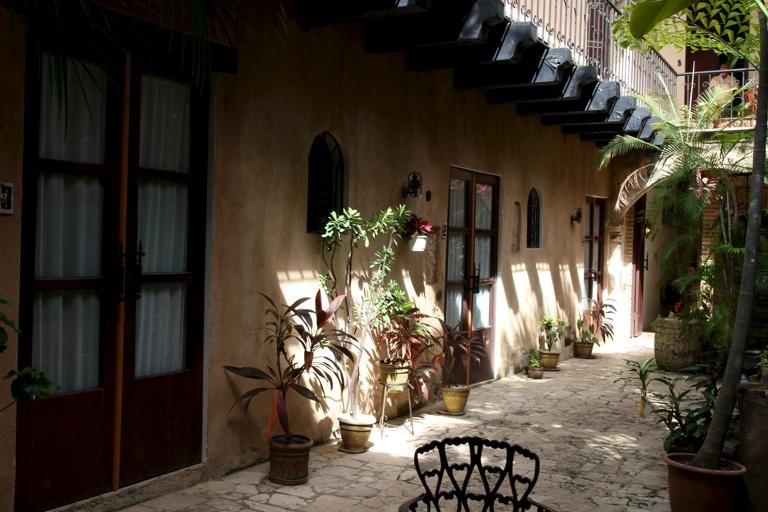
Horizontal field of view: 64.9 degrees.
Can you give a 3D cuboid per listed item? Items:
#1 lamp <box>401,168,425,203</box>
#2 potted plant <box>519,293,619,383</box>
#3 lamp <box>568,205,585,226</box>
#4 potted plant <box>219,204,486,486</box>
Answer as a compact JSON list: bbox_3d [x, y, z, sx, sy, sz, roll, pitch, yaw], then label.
[{"bbox_3d":[0.384,-0.886,7.553,0.184,0.258,0.443,-3,-2,32],"label":"lamp"},{"bbox_3d":[3.487,1.489,11.649,1.026,1.360,2.906,1,-4,37],"label":"potted plant"},{"bbox_3d":[3.708,-0.761,11.704,0.304,0.521,0.348,-1,-2,27],"label":"lamp"},{"bbox_3d":[-0.316,0.718,6.514,0.820,1.917,3.016,-3,-2,38],"label":"potted plant"}]
